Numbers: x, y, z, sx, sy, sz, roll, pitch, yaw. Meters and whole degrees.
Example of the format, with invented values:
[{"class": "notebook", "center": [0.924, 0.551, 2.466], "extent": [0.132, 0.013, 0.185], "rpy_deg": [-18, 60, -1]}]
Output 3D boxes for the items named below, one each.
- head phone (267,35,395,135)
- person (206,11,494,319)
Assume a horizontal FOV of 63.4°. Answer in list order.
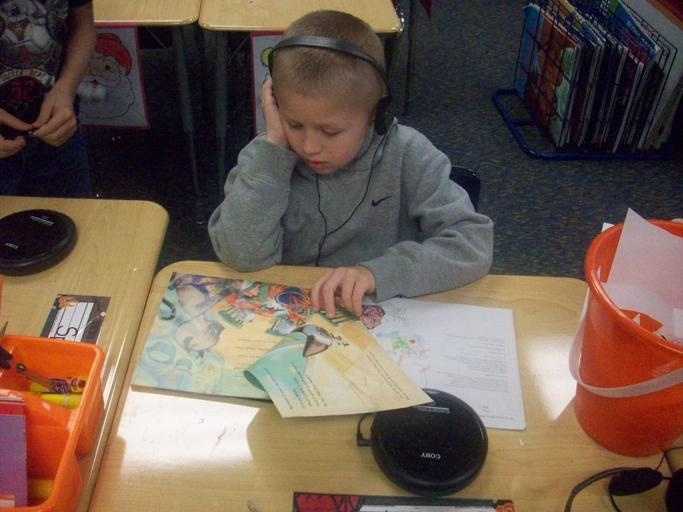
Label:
[{"class": "head phone", "center": [0.015, -0.365, 1.187], "extent": [0.241, 0.216, 0.084], "rpy_deg": [11, 52, 19]}, {"class": "person", "center": [0.011, -0.131, 1.368], "extent": [0.702, 0.802, 0.573], "rpy_deg": [12, 32, 14]}]
